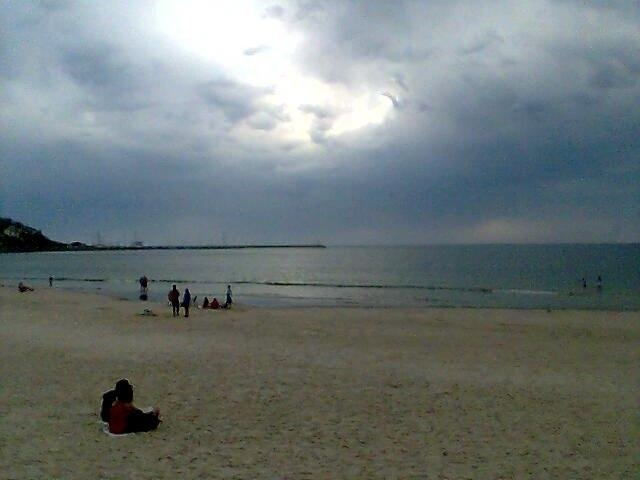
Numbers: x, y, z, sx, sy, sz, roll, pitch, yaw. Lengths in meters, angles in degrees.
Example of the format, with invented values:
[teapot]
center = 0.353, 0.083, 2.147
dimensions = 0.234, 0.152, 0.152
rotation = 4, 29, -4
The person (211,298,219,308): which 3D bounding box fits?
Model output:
[person]
center = -6.946, 4.137, 42.788
dimensions = 0.642, 0.795, 0.556
rotation = 0, 6, 11
